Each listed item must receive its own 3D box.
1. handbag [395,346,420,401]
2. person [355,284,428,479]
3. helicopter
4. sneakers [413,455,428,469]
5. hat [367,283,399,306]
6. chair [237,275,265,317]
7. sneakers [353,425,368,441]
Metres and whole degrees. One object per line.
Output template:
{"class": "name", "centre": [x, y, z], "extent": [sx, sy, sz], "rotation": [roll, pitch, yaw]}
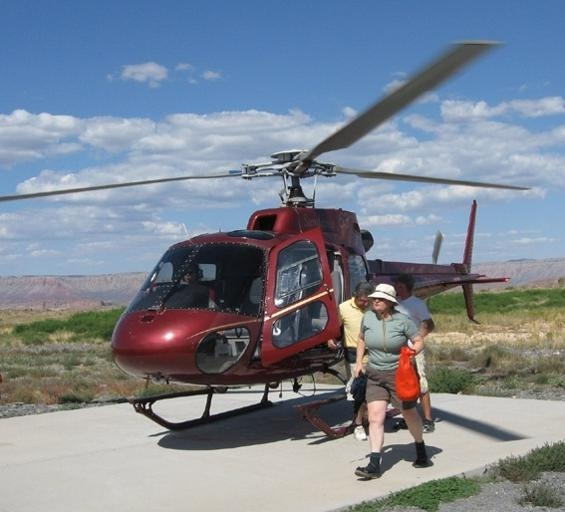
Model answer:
{"class": "handbag", "centre": [1.176, 1.118, 5.057], "extent": [0.215, 0.500, 0.329], "rotation": [0, 3, 9]}
{"class": "person", "centre": [1.083, 1.244, 5.274], "extent": [0.799, 1.919, 0.762], "rotation": [1, 3, 11]}
{"class": "helicopter", "centre": [1.381, 0.180, 7.148], "extent": [5.284, 2.025, 5.644], "rotation": [-2, -4, 42]}
{"class": "sneakers", "centre": [1.398, 2.086, 5.416], "extent": [0.250, 0.115, 0.068], "rotation": [2, 0, 3]}
{"class": "hat", "centre": [1.032, 0.411, 5.348], "extent": [0.294, 0.119, 0.275], "rotation": [7, -15, 29]}
{"class": "chair", "centre": [-0.361, 0.449, 6.102], "extent": [0.311, 0.425, 0.113], "rotation": [6, -35, 10]}
{"class": "sneakers", "centre": [0.939, 2.148, 6.436], "extent": [0.114, 0.090, 0.254], "rotation": [-1, -11, -6]}
